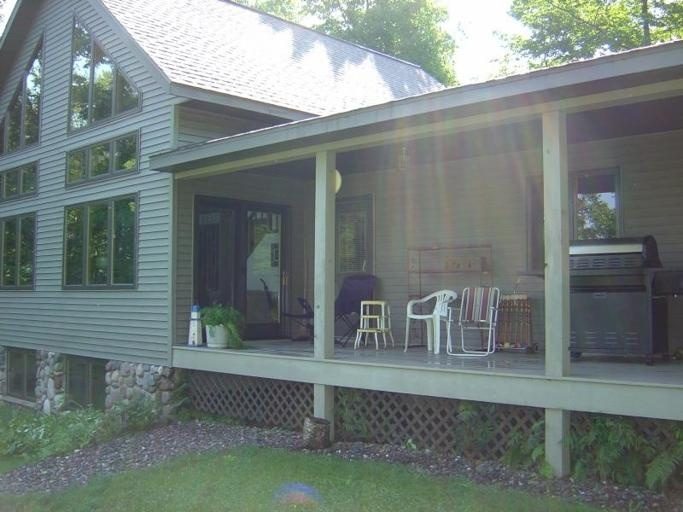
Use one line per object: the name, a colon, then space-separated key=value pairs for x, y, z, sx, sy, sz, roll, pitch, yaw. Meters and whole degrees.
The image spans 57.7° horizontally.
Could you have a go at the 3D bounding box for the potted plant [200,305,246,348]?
potted plant: x=-1.780 y=1.021 z=9.250 sx=0.559 sy=0.570 sz=0.589 roll=1 pitch=-4 yaw=-27

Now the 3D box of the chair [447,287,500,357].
chair: x=1.883 y=0.914 z=8.560 sx=0.742 sy=1.270 sz=0.955 roll=-3 pitch=-11 yaw=25

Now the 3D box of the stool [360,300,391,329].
stool: x=0.531 y=0.914 z=9.817 sx=0.454 sy=0.616 sz=0.457 roll=6 pitch=-9 yaw=-38

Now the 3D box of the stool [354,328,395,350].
stool: x=0.510 y=1.238 z=9.475 sx=0.369 sy=0.269 sz=0.472 roll=1 pitch=-5 yaw=-24

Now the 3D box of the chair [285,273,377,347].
chair: x=-0.114 y=0.821 z=10.248 sx=1.282 sy=1.252 sz=1.021 roll=-2 pitch=-1 yaw=-43
